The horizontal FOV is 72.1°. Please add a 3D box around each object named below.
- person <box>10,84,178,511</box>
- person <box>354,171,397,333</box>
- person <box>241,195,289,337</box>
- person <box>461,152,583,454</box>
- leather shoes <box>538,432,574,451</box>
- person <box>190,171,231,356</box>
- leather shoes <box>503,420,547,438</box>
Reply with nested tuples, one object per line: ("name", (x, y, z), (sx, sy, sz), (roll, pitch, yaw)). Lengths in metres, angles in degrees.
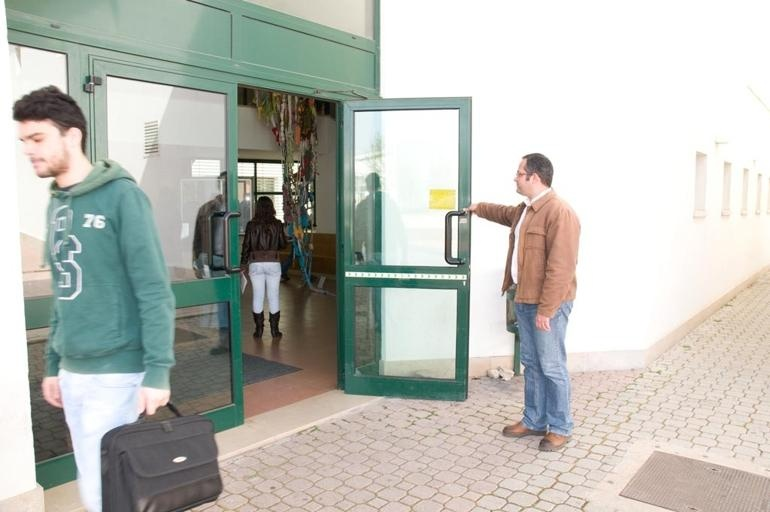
("person", (-1.401, 0.222, 2.621), (0.690, 2.076, 0.393), (-1, 9, -12))
("person", (-0.078, -0.397, 5.446), (0.465, 0.926, 0.141), (1, 9, 1))
("person", (-1.750, 0.156, 7.813), (0.576, 2.067, 0.693), (-8, 12, -44))
("person", (1.300, 0.352, 4.716), (0.543, 2.512, 0.886), (-2, 9, -18))
("leather shoes", (1.452, 1.589, 4.541), (0.267, 0.103, 0.122), (1, -1, -38))
("person", (-1.490, 0.074, 4.580), (0.340, 1.589, 0.157), (-6, 11, -35))
("leather shoes", (1.252, 1.556, 4.755), (0.351, 0.121, 0.139), (3, -3, -5))
